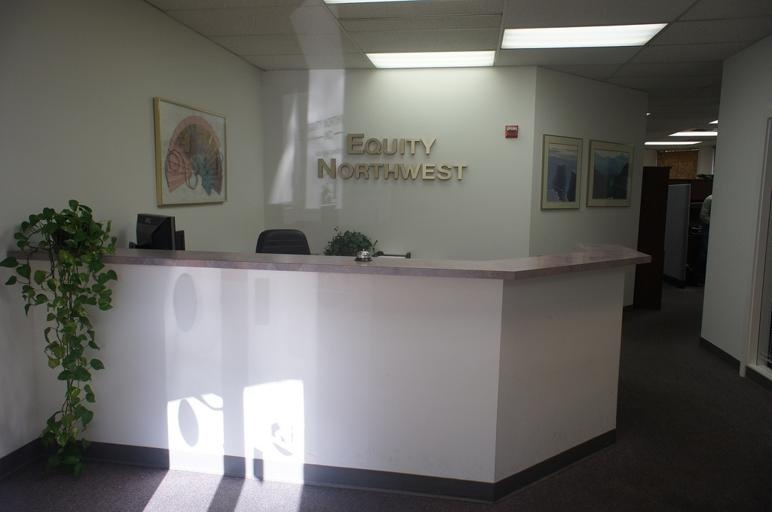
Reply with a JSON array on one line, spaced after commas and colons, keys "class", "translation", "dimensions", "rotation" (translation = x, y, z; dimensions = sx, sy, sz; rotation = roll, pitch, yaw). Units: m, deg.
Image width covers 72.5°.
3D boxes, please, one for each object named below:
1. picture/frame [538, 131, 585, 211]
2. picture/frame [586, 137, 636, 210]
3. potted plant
[{"class": "picture/frame", "translation": [2.080, -1.042, 6.323], "dimensions": [0.920, 1.143, 0.049], "rotation": [-2, 3, -37]}, {"class": "picture/frame", "translation": [2.891, -1.088, 6.831], "dimensions": [0.845, 0.910, 0.041], "rotation": [-9, 15, -33]}, {"class": "potted plant", "translation": [-2.255, 0.564, 3.705], "dimensions": [0.783, 1.885, 0.454], "rotation": [1, 8, 18]}]
